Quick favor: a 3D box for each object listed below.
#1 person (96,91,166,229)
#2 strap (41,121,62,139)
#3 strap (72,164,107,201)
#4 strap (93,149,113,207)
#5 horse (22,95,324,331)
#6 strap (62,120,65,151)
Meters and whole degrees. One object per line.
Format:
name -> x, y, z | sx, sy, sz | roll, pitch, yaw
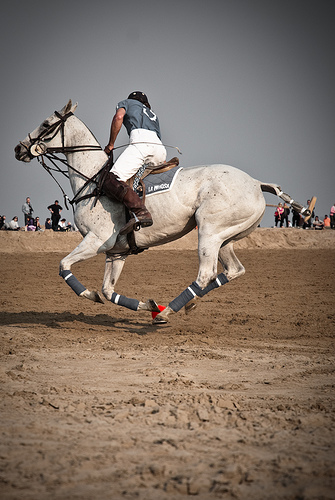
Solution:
person -> -0.513, -1.372, 7.651 | 0.945, 1.422, 1.142 | 2, 1, -1
strap -> -1.831, -1.890, 8.340 | 0.083, 0.496, 0.084 | 59, -14, -29
strap -> -1.073, -1.076, 7.994 | 0.101, 0.915, 0.151 | 52, 4, -7
strap -> -0.909, -1.098, 7.754 | 0.174, 1.128, 0.055 | 17, -34, 3
horse -> 0.106, -0.526, 8.031 | 5.835, 3.291, 1.167 | 3, 0, 24
strap -> -1.659, -1.816, 8.347 | 0.047, 0.450, 0.079 | 2, 1, -11
